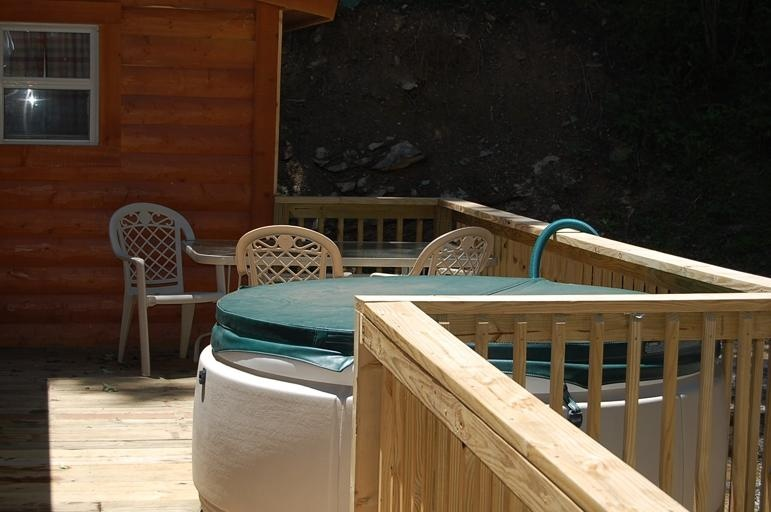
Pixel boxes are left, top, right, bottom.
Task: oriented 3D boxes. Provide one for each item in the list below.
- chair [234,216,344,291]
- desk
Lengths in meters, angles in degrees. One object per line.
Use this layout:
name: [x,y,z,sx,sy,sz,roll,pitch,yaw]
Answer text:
chair: [-0.771,-0.024,6.038,0.781,0.855,0.634,-1,9,-12]
desk: [-0.281,0.213,4.759,1.350,0.507,0.639,0,6,-6]
